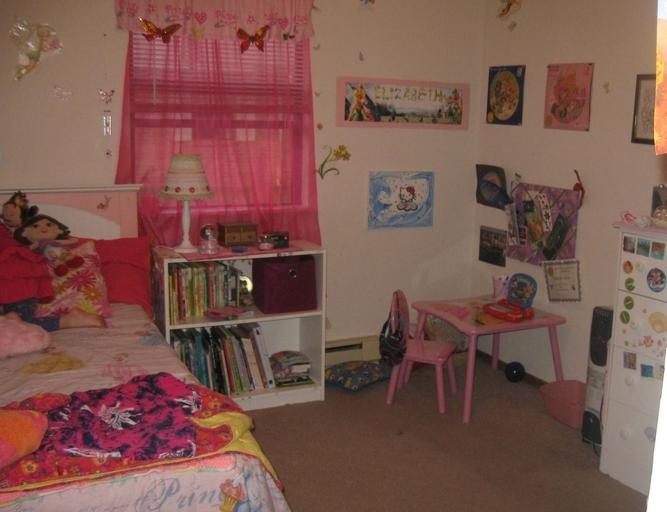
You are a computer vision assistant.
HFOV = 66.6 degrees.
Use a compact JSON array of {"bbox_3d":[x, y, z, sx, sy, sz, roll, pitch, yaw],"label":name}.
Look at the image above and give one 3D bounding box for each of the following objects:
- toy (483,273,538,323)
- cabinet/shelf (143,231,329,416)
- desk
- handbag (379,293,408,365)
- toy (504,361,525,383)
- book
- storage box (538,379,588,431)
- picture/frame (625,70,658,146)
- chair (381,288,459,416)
[{"bbox_3d":[1.353,0.300,3.880,0.334,0.350,0.389,4,9,8],"label":"toy"},{"bbox_3d":[-0.676,0.435,3.435,1.122,1.122,0.479,-4,7,-27],"label":"cabinet/shelf"},{"bbox_3d":[1.144,0.597,3.848,0.859,0.695,0.882,-5,14,-18],"label":"desk"},{"bbox_3d":[0.429,0.507,3.584,0.189,0.527,0.201,1,14,6],"label":"handbag"},{"bbox_3d":[1.439,0.908,4.086,0.148,0.185,0.155,4,29,26],"label":"toy"},{"bbox_3d":[-0.645,0.491,3.568,0.860,0.867,0.364,-5,7,-28],"label":"book"},{"bbox_3d":[1.617,1.035,3.567,0.243,0.143,0.296,-4,3,-24],"label":"storage box"},{"bbox_3d":[1.982,-0.930,3.220,0.356,0.435,0.016,-10,13,-40],"label":"picture/frame"},{"bbox_3d":[0.639,0.688,3.745,0.539,0.794,0.517,5,10,38],"label":"chair"}]
